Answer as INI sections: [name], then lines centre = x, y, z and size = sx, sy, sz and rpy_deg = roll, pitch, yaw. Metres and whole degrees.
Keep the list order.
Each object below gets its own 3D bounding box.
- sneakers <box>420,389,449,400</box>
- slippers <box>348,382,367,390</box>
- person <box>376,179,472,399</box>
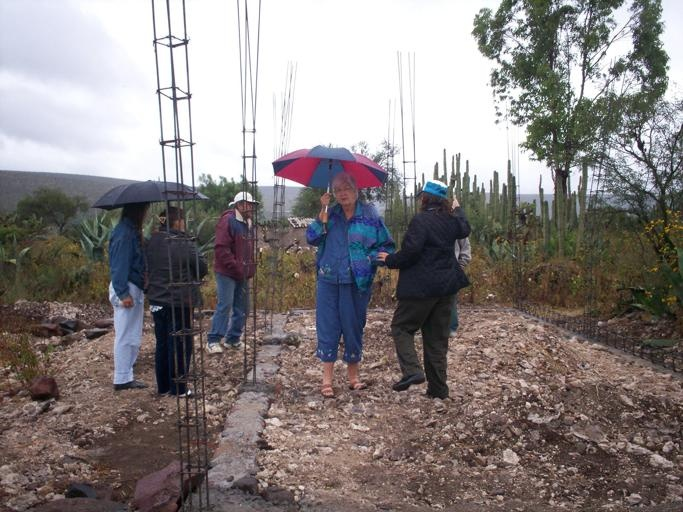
[sneakers]
centre = 1.012, 1.515, 6.151
size = 0.275, 0.137, 0.098
rpy_deg = 11, -13, -25
[slippers]
centre = 0.183, 1.486, 6.516
size = 0.080, 0.073, 0.163
rpy_deg = 5, -11, -37
[person]
centre = 0.896, 0.399, 6.007
size = 1.067, 2.391, 0.574
rpy_deg = -8, 13, -32
